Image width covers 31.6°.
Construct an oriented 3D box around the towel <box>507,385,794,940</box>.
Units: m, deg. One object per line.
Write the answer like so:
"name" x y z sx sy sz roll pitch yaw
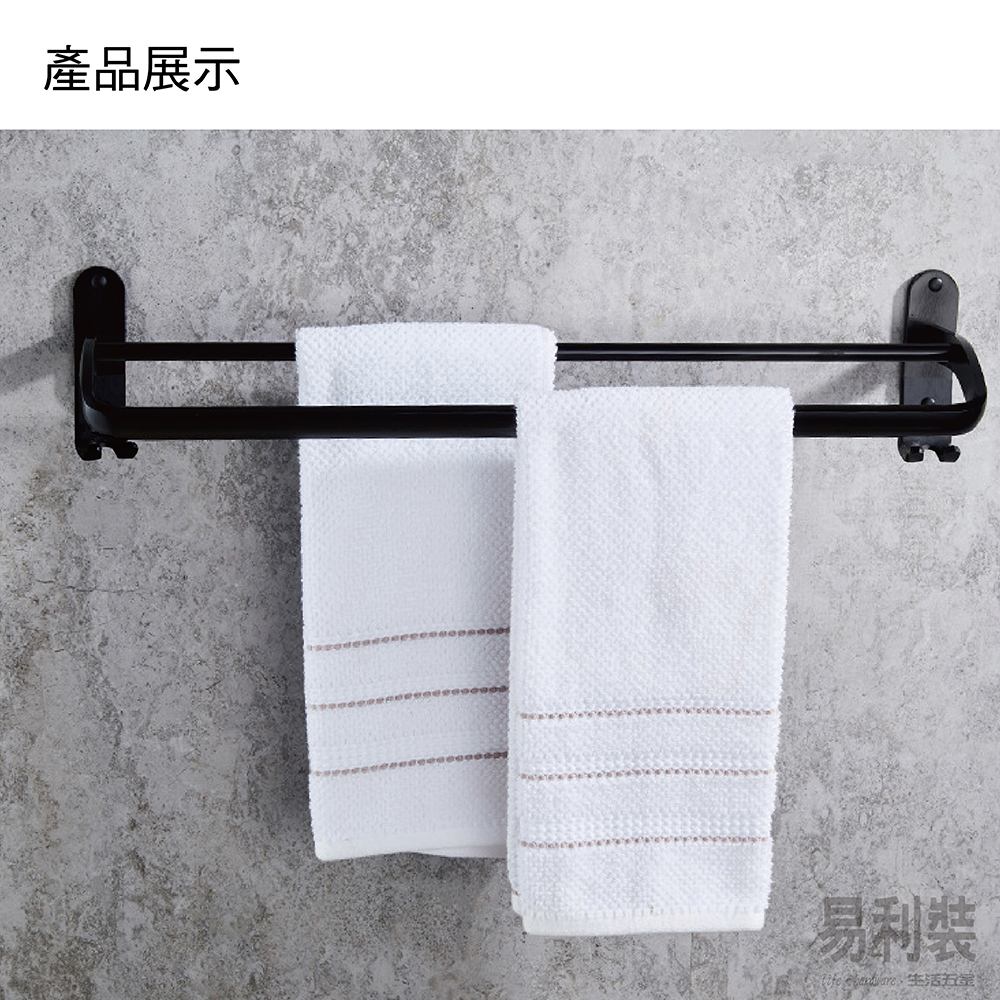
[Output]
"towel" 0.106 0.113 1.278 0.191 0.062 0.449 -2 -68 -3
